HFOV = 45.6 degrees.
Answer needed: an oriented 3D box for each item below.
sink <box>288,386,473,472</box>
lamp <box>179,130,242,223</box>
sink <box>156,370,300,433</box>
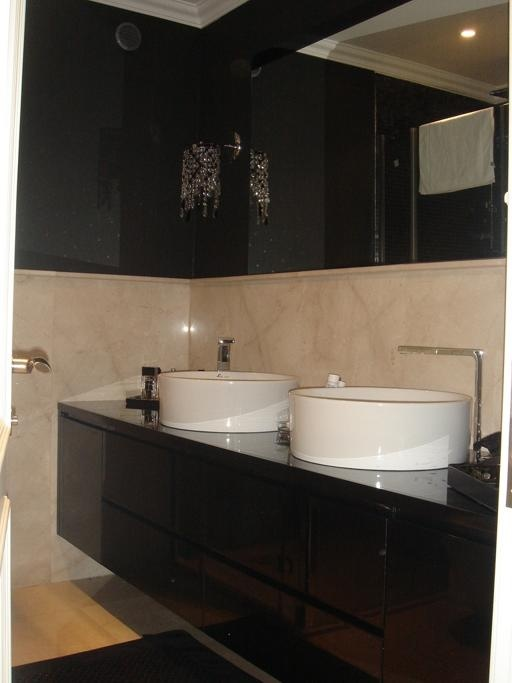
[{"bbox_3d":[0.247,0.185,1.250,0.367,0.145,0.179,-2,-3,22],"label":"sink"},{"bbox_3d":[-0.180,-0.621,2.282,0.141,0.312,0.180,11,14,30],"label":"lamp"},{"bbox_3d":[-0.081,0.183,1.762,0.407,0.157,0.198,0,-3,-6],"label":"sink"}]
